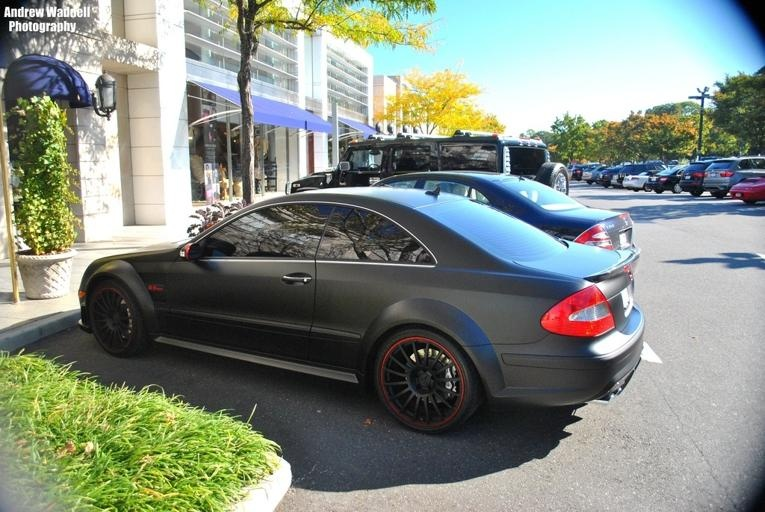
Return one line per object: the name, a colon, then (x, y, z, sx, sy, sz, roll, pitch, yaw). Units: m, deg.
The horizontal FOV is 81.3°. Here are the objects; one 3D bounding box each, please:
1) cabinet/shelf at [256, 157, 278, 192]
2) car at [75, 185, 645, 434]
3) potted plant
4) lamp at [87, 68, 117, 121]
cabinet/shelf: (-6.387, -4.472, 25.121, 1.907, 1.682, 1.069, 3, 4, 32)
car: (-0.550, 0.404, 4.725, 5.425, 1.603, 2.185, 6, 6, 23)
potted plant: (-5.325, -0.894, 6.950, 0.975, 3.100, 0.606, -11, 19, -35)
lamp: (-7.223, -4.119, 11.503, 0.576, 1.147, 0.823, -9, 17, -30)
